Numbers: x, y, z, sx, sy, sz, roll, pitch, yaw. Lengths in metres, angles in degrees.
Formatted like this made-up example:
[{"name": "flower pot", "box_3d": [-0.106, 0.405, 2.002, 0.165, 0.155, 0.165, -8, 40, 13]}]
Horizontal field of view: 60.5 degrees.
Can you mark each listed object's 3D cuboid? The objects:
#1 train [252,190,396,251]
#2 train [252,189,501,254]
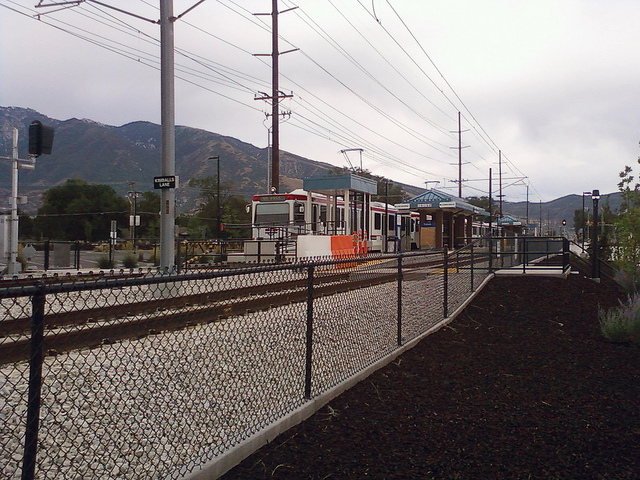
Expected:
[{"name": "train", "box_3d": [1.075, -0.868, 29.734, 3.212, 2.839, 11.915, -2, -3, 33]}, {"name": "train", "box_3d": [6.647, -1.464, 40.643, 6.079, 4.276, 42.906, 3, 5, 25]}]
